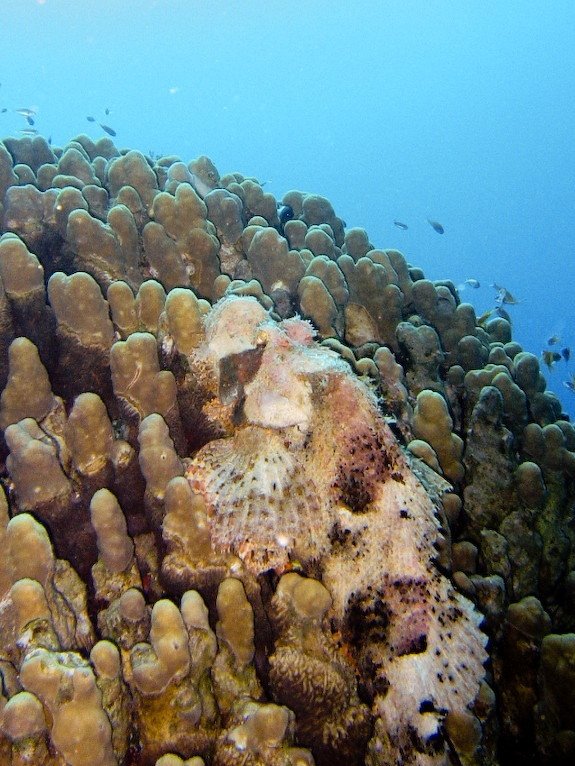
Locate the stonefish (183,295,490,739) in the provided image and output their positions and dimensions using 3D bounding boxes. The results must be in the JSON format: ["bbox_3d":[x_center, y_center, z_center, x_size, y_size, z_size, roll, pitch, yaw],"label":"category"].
[{"bbox_3d":[0.174,0.508,2.783,0.739,1.879,0.575,-6,-18,-46],"label":"stonefish"}]
